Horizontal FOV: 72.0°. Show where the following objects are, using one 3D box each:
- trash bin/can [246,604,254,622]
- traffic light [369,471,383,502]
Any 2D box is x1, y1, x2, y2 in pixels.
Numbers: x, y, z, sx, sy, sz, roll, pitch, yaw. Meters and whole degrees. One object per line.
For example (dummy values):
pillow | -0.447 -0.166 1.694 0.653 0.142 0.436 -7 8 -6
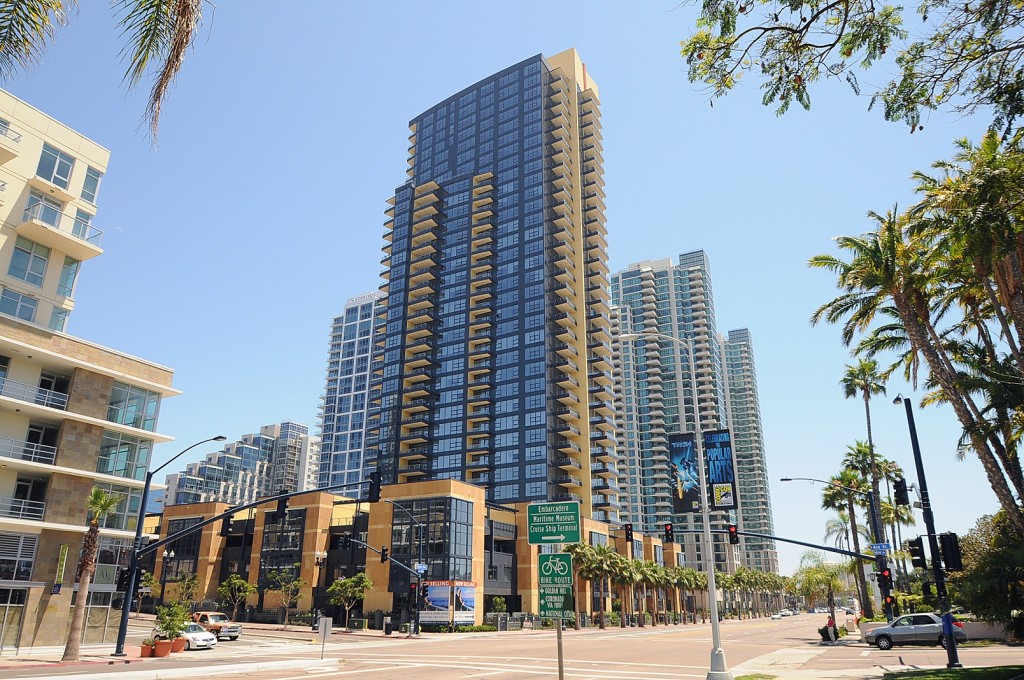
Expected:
trash bin/can | -34.987 36.370 93.805 0.998 2.024 2.675 14 -30 -32
traffic light | -9.239 9.658 46.962 0.689 1.974 1.145 4 -27 -14
